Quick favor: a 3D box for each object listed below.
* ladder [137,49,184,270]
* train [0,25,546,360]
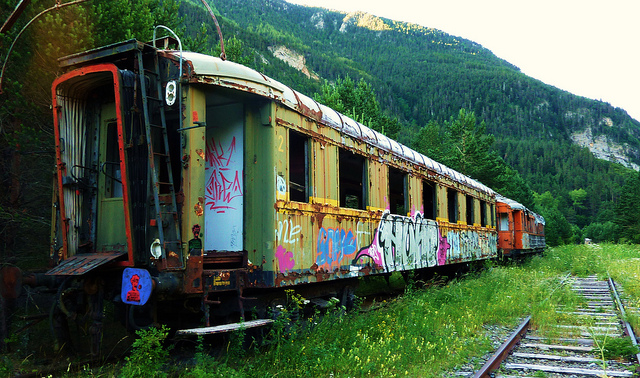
[{"bbox_3d":[-3.159,-0.613,9.423,0.499,4.070,1.710,-3,15,-38],"label":"ladder"},{"bbox_3d":[1.349,0.640,16.811,4.709,6.205,21.156,-3,-3,35],"label":"train"}]
